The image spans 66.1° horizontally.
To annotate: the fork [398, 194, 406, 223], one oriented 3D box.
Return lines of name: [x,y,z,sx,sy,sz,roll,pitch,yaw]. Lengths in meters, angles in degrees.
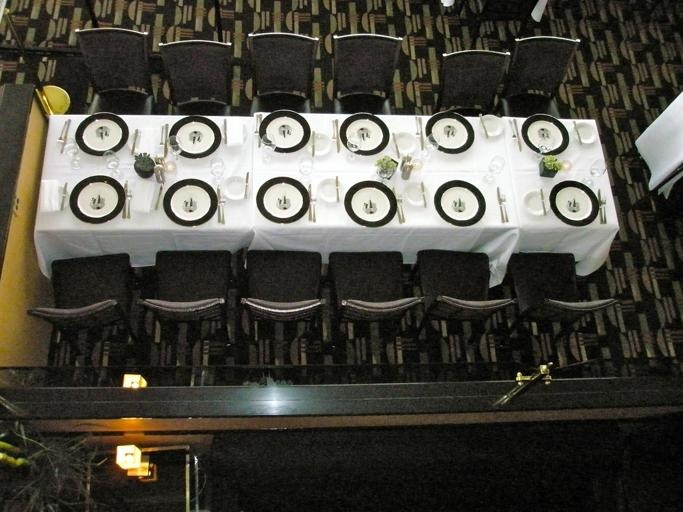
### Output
fork: [0.412,-0.325,3.557,0.055,0.188,0.084,0,4,6]

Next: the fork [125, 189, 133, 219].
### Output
fork: [-1.373,-0.350,3.419,0.047,0.194,0.069,-1,4,-20]

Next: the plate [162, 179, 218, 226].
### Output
plate: [-0.981,-0.362,3.440,0.334,0.311,0.133,-1,4,-17]

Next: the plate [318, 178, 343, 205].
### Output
plate: [-0.074,-0.456,3.563,0.164,0.177,0.090,0,4,-3]

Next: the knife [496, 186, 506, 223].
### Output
knife: [1.100,-0.368,3.616,0.061,0.204,0.014,-8,-19,4]

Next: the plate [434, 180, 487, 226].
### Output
plate: [0.809,-0.370,3.580,0.344,0.319,0.125,0,4,3]

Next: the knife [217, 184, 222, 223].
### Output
knife: [-0.797,-0.342,3.469,0.035,0.229,0.016,-2,-11,-8]

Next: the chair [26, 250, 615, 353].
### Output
chair: [-0.134,0.320,3.606,3.578,0.693,0.922,0,4,-5]

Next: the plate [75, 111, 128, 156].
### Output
plate: [-1.622,-0.845,3.583,0.328,0.316,0.154,0,4,2]

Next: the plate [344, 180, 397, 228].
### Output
plate: [0.203,-0.360,3.529,0.350,0.315,0.131,0,4,2]

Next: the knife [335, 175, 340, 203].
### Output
knife: [-0.019,-0.470,3.567,0.026,0.172,0.015,0,-12,2]

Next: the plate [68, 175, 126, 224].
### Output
plate: [-1.564,-0.376,3.396,0.331,0.326,0.145,-1,4,-20]

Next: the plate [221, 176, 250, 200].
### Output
plate: [-0.699,-0.472,3.523,0.182,0.181,0.089,-1,4,-11]

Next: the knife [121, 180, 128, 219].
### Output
knife: [-1.403,-0.368,3.411,0.057,0.218,0.017,-1,-28,-14]

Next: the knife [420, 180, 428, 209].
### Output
knife: [0.566,-0.426,3.600,0.032,0.196,0.009,-1,-6,5]

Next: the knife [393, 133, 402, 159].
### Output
knife: [0.403,-0.799,3.757,0.038,0.230,0.025,-13,-25,3]

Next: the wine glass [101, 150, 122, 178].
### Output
wine glass: [-1.505,-0.638,3.562,0.168,0.160,0.269,-2,21,-22]

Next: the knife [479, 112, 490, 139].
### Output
knife: [1.056,-0.981,3.871,0.040,0.208,0.026,-7,-16,-1]

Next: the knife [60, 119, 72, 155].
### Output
knife: [-1.849,-0.832,3.579,0.069,0.227,0.050,7,-22,-18]

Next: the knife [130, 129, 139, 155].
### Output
knife: [-1.398,-0.797,3.594,0.047,0.183,0.029,4,-27,-9]

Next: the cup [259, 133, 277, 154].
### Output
cup: [-0.499,-0.794,3.634,0.134,0.093,0.122,-9,-31,12]

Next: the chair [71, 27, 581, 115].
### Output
chair: [-0.080,-1.428,4.156,3.703,0.631,0.415,0,4,-5]

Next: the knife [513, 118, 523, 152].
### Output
knife: [1.290,-0.907,3.840,0.039,0.280,0.028,-5,-18,3]

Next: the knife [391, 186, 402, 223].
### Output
knife: [0.377,-0.358,3.564,0.053,0.262,0.038,-2,-25,-8]
